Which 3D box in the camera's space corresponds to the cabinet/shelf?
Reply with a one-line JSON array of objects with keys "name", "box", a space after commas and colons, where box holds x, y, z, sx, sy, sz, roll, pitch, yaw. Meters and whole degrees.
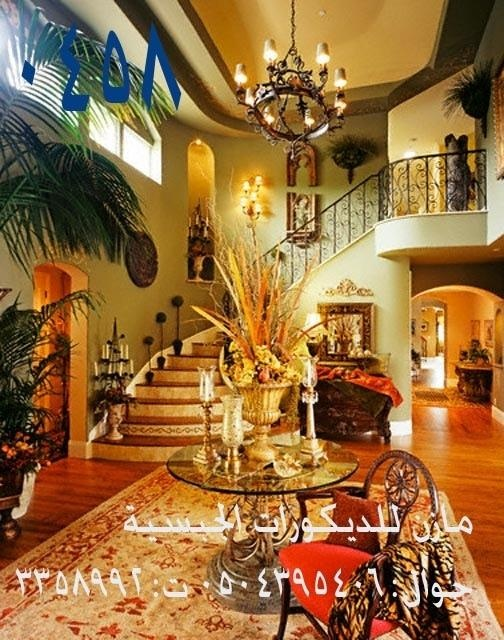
[{"name": "cabinet/shelf", "box": [1.309, 1.104, 6.152, 1.378, 0.858, 0.943, -1, -4, 16]}]

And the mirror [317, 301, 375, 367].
[{"name": "mirror", "box": [1.391, 0.191, 6.948, 0.994, 1.094, 0.099, 0, -2, 31]}]

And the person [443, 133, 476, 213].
[{"name": "person", "box": [2.745, -1.914, 6.312, 0.347, 1.129, 0.751, 0, -1, 23]}]

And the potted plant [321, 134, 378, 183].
[{"name": "potted plant", "box": [1.719, -2.760, 8.381, 0.768, 0.728, 0.747, -2, 1, -38]}]

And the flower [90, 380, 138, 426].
[{"name": "flower", "box": [-1.514, 0.940, 5.510, 0.502, 0.545, 0.483, 0, -7, -5]}]

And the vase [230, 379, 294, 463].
[{"name": "vase", "box": [0.050, 0.566, 2.718, 0.350, 0.415, 0.374, -1, -9, 8]}]
